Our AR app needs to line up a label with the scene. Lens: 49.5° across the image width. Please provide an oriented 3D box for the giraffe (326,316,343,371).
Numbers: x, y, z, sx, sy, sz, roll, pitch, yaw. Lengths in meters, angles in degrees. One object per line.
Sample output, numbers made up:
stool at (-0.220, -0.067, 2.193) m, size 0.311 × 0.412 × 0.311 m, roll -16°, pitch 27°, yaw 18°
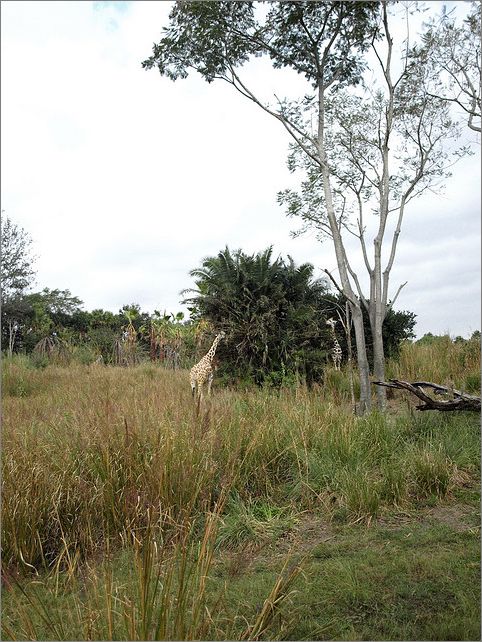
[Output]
giraffe at (1.778, 0.459, 10.155) m, size 0.266 × 1.023 × 1.592 m, roll -1°, pitch -3°, yaw 9°
